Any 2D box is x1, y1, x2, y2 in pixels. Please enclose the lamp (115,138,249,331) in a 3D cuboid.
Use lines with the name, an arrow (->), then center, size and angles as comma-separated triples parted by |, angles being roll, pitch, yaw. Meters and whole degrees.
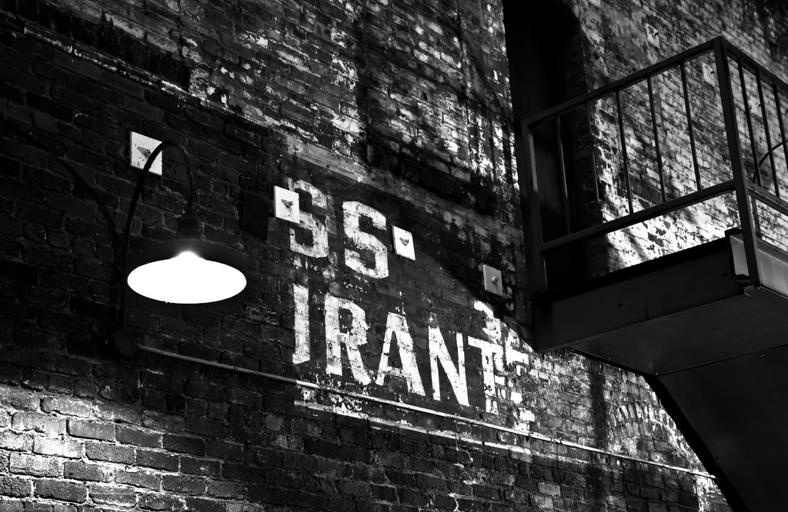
lamp -> -1.240, -0.211, 7.241 | 0.613, 1.172, 0.800 | 19, -39, -29
